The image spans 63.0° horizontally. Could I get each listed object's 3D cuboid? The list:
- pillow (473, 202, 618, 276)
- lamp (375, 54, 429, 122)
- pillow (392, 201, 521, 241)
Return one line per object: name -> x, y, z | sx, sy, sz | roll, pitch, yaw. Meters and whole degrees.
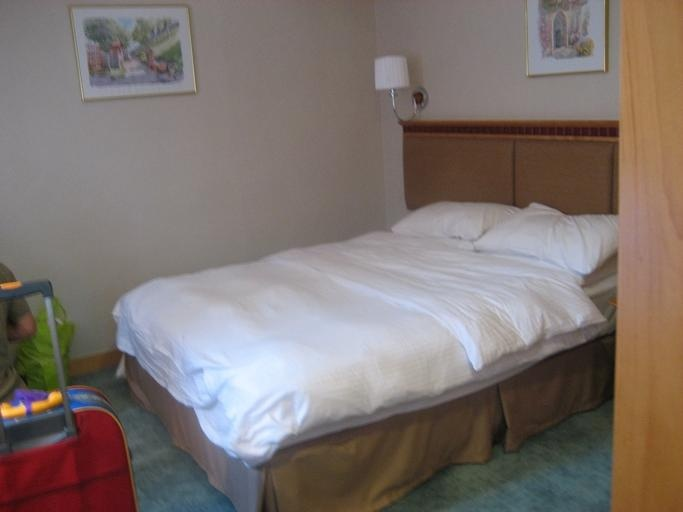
pillow -> 1.187, -0.102, 2.966 | 0.435, 0.149, 0.446 | -28, 23, -22
lamp -> 0.487, -1.300, 4.345 | 0.386, 0.520, 0.614 | -1, 16, 10
pillow -> 0.730, -0.243, 3.661 | 0.380, 0.119, 0.436 | -34, 23, -36
